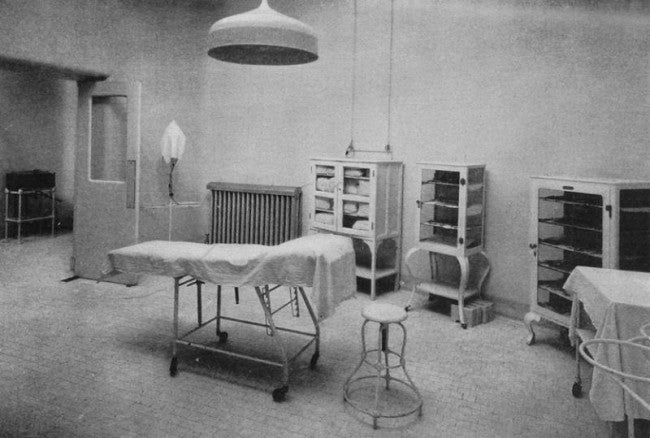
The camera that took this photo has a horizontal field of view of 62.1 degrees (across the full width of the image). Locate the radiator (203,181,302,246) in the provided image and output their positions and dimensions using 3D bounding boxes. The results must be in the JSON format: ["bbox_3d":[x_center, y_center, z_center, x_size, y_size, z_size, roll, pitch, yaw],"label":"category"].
[{"bbox_3d":[-0.892,-0.066,6.993,0.912,0.557,0.140,2,6,17],"label":"radiator"}]

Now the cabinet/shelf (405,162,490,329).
[{"bbox_3d":[1.303,0.229,5.776,0.790,1.653,0.599,6,10,41],"label":"cabinet/shelf"}]

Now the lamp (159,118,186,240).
[{"bbox_3d":[-2.011,-0.533,7.250,0.336,1.576,0.492,-3,8,-16],"label":"lamp"}]

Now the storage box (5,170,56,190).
[{"bbox_3d":[-3.384,-0.439,6.199,0.472,0.259,1.274,-4,8,-27],"label":"storage box"}]

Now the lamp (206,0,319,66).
[{"bbox_3d":[-0.395,-1.210,3.827,0.663,0.322,0.626,1,6,5],"label":"lamp"}]

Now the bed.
[{"bbox_3d":[-0.610,0.832,4.648,2.671,1.398,1.286,2,2,21],"label":"bed"}]
